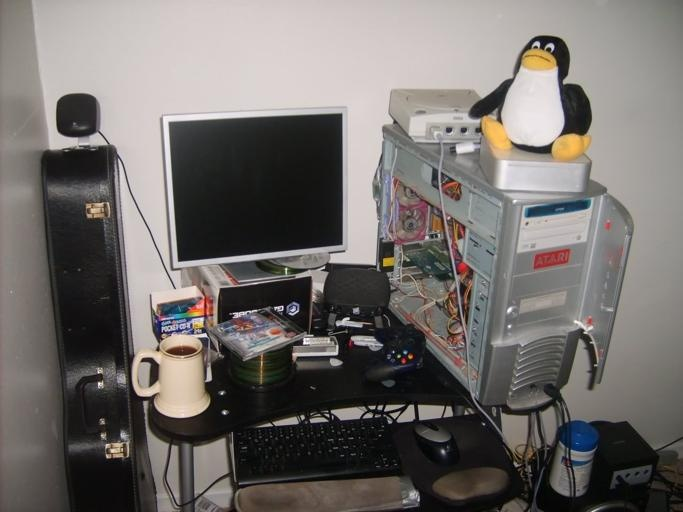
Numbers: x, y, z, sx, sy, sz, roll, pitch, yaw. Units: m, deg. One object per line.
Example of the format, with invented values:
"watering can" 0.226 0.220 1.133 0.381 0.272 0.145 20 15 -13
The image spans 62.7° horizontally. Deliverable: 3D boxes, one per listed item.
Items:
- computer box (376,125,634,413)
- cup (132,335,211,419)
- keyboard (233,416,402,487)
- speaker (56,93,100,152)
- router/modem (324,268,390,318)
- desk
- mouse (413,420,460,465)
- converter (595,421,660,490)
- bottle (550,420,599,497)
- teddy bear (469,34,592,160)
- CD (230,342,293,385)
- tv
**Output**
"computer box" 0.453 0.019 1.710 0.455 0.752 0.837 -6 24 -9
"cup" -0.459 0.340 1.641 0.253 0.203 0.174 -2 19 -14
"keyboard" -0.112 0.722 1.815 0.407 0.066 0.178 -2 40 -8
"speaker" -0.829 -0.444 1.758 0.122 0.125 0.074 -9 19 -19
"router/modem" 0.058 0.116 1.988 0.243 0.141 0.310 -4 22 -8
"desk" -0.177 0.486 2.026 1.038 0.643 0.838 0 22 -20
"mouse" 0.290 0.588 1.788 0.132 0.095 0.143 -2 22 -1
"converter" 1.084 0.800 2.220 0.241 0.161 0.211 -10 20 -19
"bottle" 0.875 0.773 2.107 0.168 0.335 0.148 -4 25 -13
"teddy bear" 0.514 -0.457 1.588 0.366 0.309 0.190 10 22 33
"CD" -0.246 0.310 1.787 0.189 0.118 0.202 -10 25 -20
"tv" -0.266 -0.230 1.831 0.605 0.480 0.057 -9 19 -18
